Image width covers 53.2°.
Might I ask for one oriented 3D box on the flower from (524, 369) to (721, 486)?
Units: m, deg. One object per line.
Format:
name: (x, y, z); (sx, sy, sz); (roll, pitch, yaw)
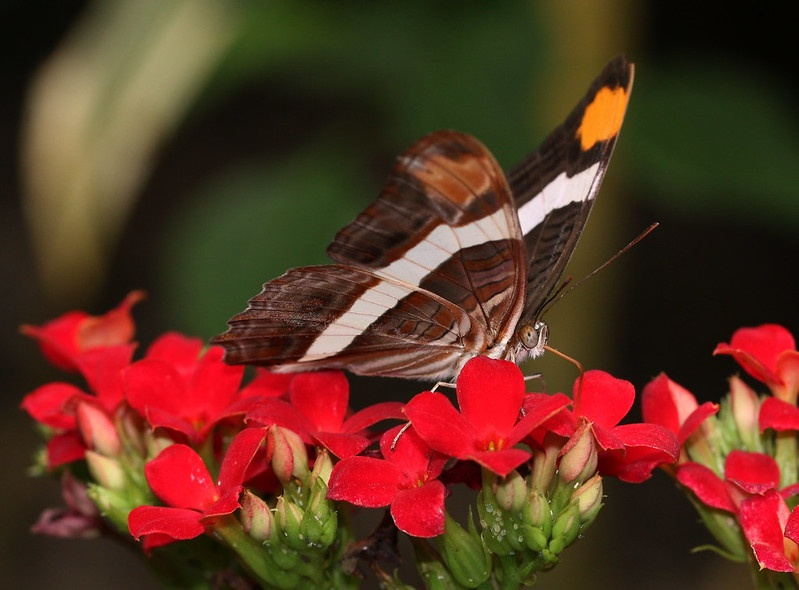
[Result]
flower: (0.644, 0.358, 2.299); (0.408, 0.197, 0.429); (18, 22, 11)

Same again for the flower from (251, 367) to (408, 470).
flower: (-0.249, 0.357, 2.389); (0.288, 0.115, 0.283); (-3, 9, -23)

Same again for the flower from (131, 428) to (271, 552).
flower: (-0.544, 0.542, 2.227); (0.446, 0.226, 0.362); (-14, 0, -34)
